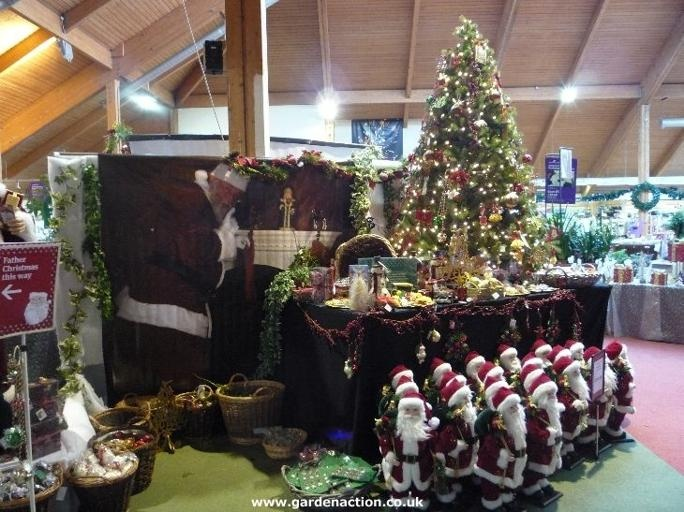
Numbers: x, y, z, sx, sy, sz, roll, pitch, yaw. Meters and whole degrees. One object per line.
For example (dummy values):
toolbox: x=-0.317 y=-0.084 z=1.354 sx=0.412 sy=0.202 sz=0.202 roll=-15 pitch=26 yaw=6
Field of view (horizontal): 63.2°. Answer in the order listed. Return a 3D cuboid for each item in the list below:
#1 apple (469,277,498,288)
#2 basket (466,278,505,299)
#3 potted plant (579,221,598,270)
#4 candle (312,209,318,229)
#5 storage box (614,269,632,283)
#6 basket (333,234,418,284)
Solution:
apple: x=1.366 y=0.257 z=5.365 sx=0.151 sy=0.060 sz=0.138 roll=-3 pitch=3 yaw=-34
basket: x=1.375 y=0.317 z=5.326 sx=0.239 sy=0.115 sz=0.234 roll=-1 pitch=0 yaw=35
potted plant: x=3.416 y=-0.176 z=7.670 sx=0.383 sy=0.530 sz=0.487 roll=0 pitch=0 yaw=24
candle: x=-0.292 y=-0.397 z=6.052 sx=0.058 sy=0.202 sz=0.078 roll=0 pitch=-5 yaw=-18
storage box: x=4.360 y=0.304 z=8.573 sx=0.205 sy=0.205 sz=0.206 roll=0 pitch=1 yaw=29
basket: x=0.340 y=0.005 z=5.475 sx=0.566 sy=0.362 sz=0.578 roll=2 pitch=3 yaw=40
